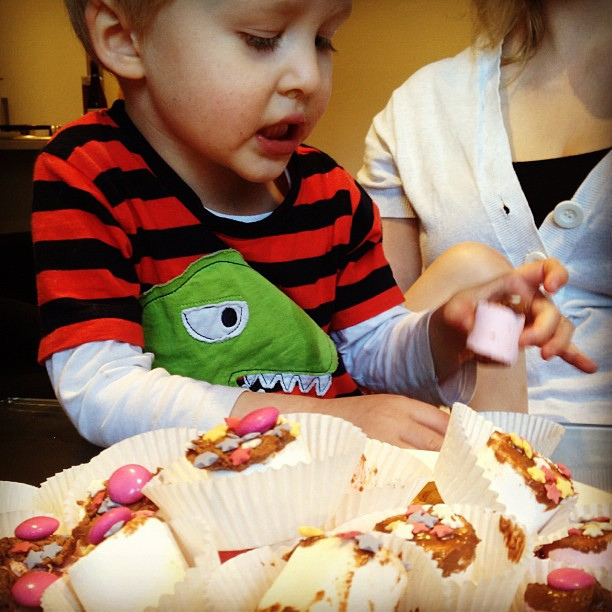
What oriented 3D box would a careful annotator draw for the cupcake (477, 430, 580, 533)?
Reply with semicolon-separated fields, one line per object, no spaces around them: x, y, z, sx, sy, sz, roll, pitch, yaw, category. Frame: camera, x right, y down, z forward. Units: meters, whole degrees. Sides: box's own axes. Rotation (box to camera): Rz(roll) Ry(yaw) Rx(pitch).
0.136;0.110;0.372;0.058;0.042;0.057;5;24;20;cupcake

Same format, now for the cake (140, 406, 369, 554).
-0.035;0.101;0.382;0.152;0.057;0.133;-8;5;-10;cake

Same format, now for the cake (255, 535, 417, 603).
0.017;0.127;0.282;0.059;0.023;0.044;5;23;21;cake

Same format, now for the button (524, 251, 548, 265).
0.207;-0.043;0.542;0.022;0.005;0.018;2;52;4;button

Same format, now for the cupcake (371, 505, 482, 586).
0.063;0.126;0.322;0.057;0.030;0.050;-2;10;-13;cupcake

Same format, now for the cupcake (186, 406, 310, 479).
-0.036;0.084;0.363;0.072;0.023;0.063;-6;21;-8;cupcake

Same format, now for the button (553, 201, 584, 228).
0.266;-0.093;0.612;0.029;0.029;0.025;4;25;19;button

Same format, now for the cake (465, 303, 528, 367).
0.154;0.023;0.478;0.048;0.041;0.051;25;3;23;cake

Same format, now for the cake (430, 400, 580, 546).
0.117;0.100;0.386;0.081;0.080;0.024;25;81;50;cake
